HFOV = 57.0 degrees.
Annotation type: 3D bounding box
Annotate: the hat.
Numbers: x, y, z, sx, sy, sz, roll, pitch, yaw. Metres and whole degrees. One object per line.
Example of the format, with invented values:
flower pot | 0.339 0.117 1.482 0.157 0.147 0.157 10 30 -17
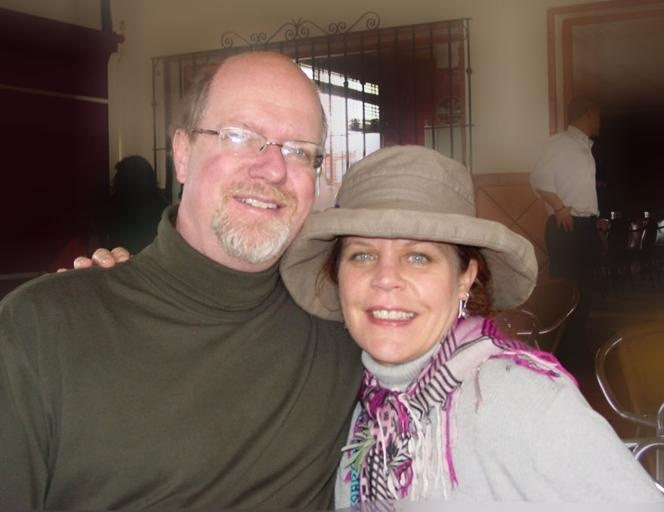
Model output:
hat | 0.354 -0.102 2.534 0.782 0.505 0.826 11 -26 -21
